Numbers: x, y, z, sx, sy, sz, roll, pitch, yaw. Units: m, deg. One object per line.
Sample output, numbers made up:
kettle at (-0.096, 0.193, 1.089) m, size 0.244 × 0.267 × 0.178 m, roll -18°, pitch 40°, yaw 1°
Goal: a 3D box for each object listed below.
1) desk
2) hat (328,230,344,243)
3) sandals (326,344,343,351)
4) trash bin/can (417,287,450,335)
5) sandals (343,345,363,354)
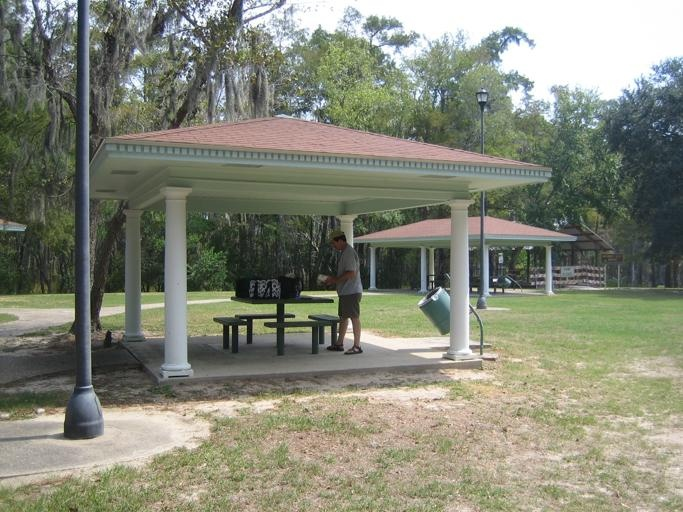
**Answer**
desk at (-1.243, 1.198, 13.270) m, size 1.440 × 1.063 × 1.441 m, roll 1°, pitch -3°, yaw -25°
hat at (-0.111, -0.393, 13.206) m, size 0.263 × 0.226 × 0.200 m, roll -11°, pitch 6°, yaw 12°
sandals at (-0.135, 1.902, 14.033) m, size 0.269 × 0.102 × 0.141 m, roll 5°, pitch -4°, yaw 7°
trash bin/can at (1.920, 1.125, 13.722) m, size 0.641 × 0.990 × 0.616 m, roll 2°, pitch 3°, yaw 19°
sandals at (0.238, 1.910, 13.653) m, size 0.399 × 0.159 × 0.154 m, roll 0°, pitch -3°, yaw -10°
